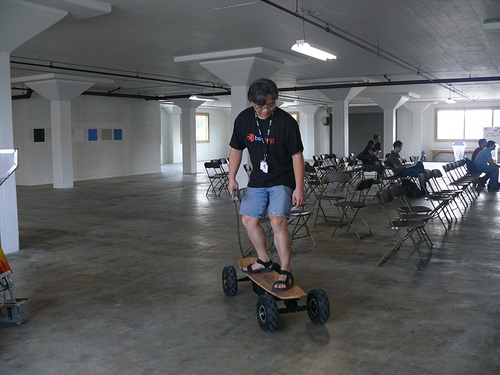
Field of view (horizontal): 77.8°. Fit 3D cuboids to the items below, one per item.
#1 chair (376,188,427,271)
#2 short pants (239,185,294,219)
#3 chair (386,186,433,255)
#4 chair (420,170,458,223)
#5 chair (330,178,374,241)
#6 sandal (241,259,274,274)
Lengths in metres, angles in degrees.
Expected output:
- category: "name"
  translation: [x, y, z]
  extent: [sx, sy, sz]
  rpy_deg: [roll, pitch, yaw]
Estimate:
- category: "chair"
  translation: [2.484, 0.654, 5.024]
  extent: [0.833, 1.104, 0.834]
  rpy_deg: [-7, 12, -35]
- category: "short pants"
  translation: [0.176, 0.102, 3.006]
  extent: [0.549, 0.389, 0.303]
  rpy_deg: [-1, -9, 29]
- category: "chair"
  translation: [2.781, 0.609, 5.440]
  extent: [0.829, 1.143, 0.702]
  rpy_deg: [17, 30, 40]
- category: "chair"
  translation: [4.657, 0.260, 7.536]
  extent: [0.652, 0.994, 0.788]
  rpy_deg: [-6, 13, 44]
- category: "chair"
  translation: [2.468, 0.447, 7.388]
  extent: [0.968, 1.344, 0.920]
  rpy_deg: [-3, 3, 25]
- category: "sandal"
  translation: [0.070, 0.808, 3.257]
  extent: [0.354, 0.153, 0.128]
  rpy_deg: [2, 1, 11]
